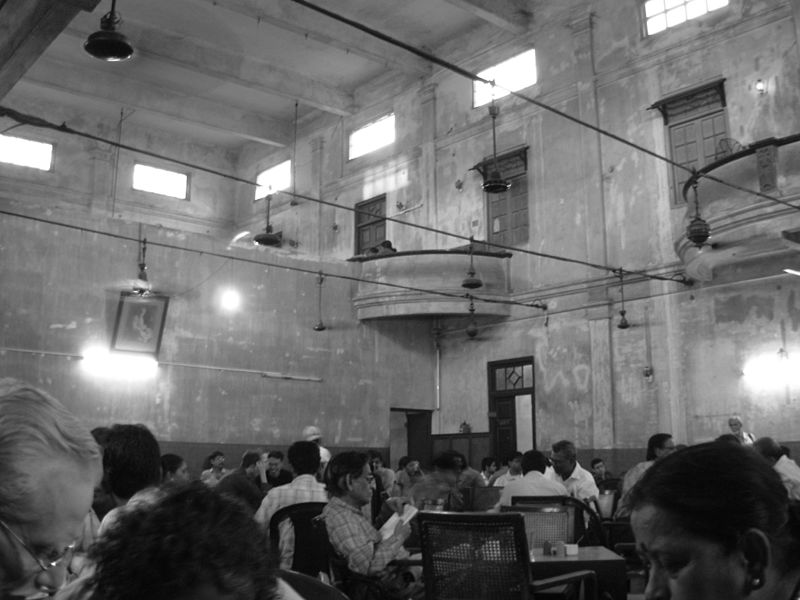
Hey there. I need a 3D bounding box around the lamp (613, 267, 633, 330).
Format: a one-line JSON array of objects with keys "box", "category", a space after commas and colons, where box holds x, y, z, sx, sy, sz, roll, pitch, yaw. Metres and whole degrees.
[{"box": [3.598, -0.012, 13.107, 0.189, 0.990, 0.625, -4, -13, 15], "category": "lamp"}]

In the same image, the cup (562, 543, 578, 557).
[{"box": [1.006, 1.459, 4.755, 0.077, 0.064, 0.079, 0, -3, 0], "category": "cup"}]

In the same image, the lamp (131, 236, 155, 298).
[{"box": [-4.274, -0.540, 13.616, 0.396, 1.002, 0.234, 8, -15, -35], "category": "lamp"}]

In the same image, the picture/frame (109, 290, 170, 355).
[{"box": [-4.276, 0.429, 13.373, 0.810, 1.158, 0.094, 8, -31, -15], "category": "picture/frame"}]

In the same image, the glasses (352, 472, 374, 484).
[{"box": [-0.220, 1.048, 4.767, 0.079, 0.023, 0.080, -13, -3, 1], "category": "glasses"}]
